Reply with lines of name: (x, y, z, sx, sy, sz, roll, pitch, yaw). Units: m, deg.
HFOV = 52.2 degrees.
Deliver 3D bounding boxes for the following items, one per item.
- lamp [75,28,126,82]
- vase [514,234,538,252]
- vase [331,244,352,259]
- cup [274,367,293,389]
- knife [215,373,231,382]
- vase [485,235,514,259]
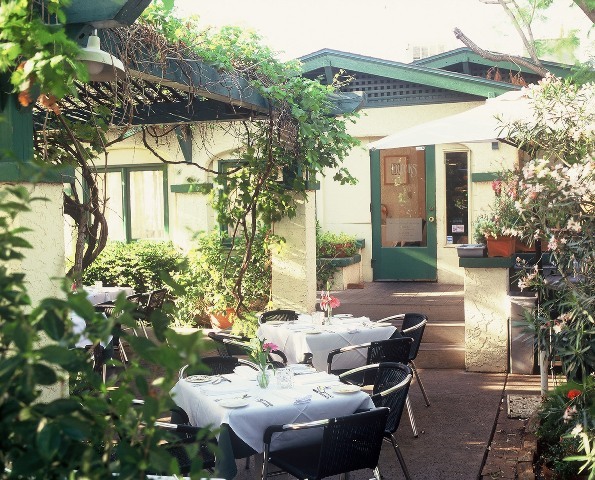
lamp: (-1.144, -1.129, 3.610, 0.219, 0.301, 0.529, -2, 4, -13)
vase: (2.384, 0.021, 6.377, 0.182, 0.145, 0.188, 3, 1, 42)
vase: (0.935, 0.193, 12.243, 0.149, 0.273, 0.503, 2, 5, 41)
cup: (-0.090, 0.892, 3.966, 0.109, 0.124, 0.112, 0, 3, 0)
knife: (-0.510, 0.960, 4.255, 0.061, 0.037, 0.038, -8, 12, -32)
vase: (2.122, 0.079, 6.393, 0.197, 0.170, 0.259, 1, 4, 20)
